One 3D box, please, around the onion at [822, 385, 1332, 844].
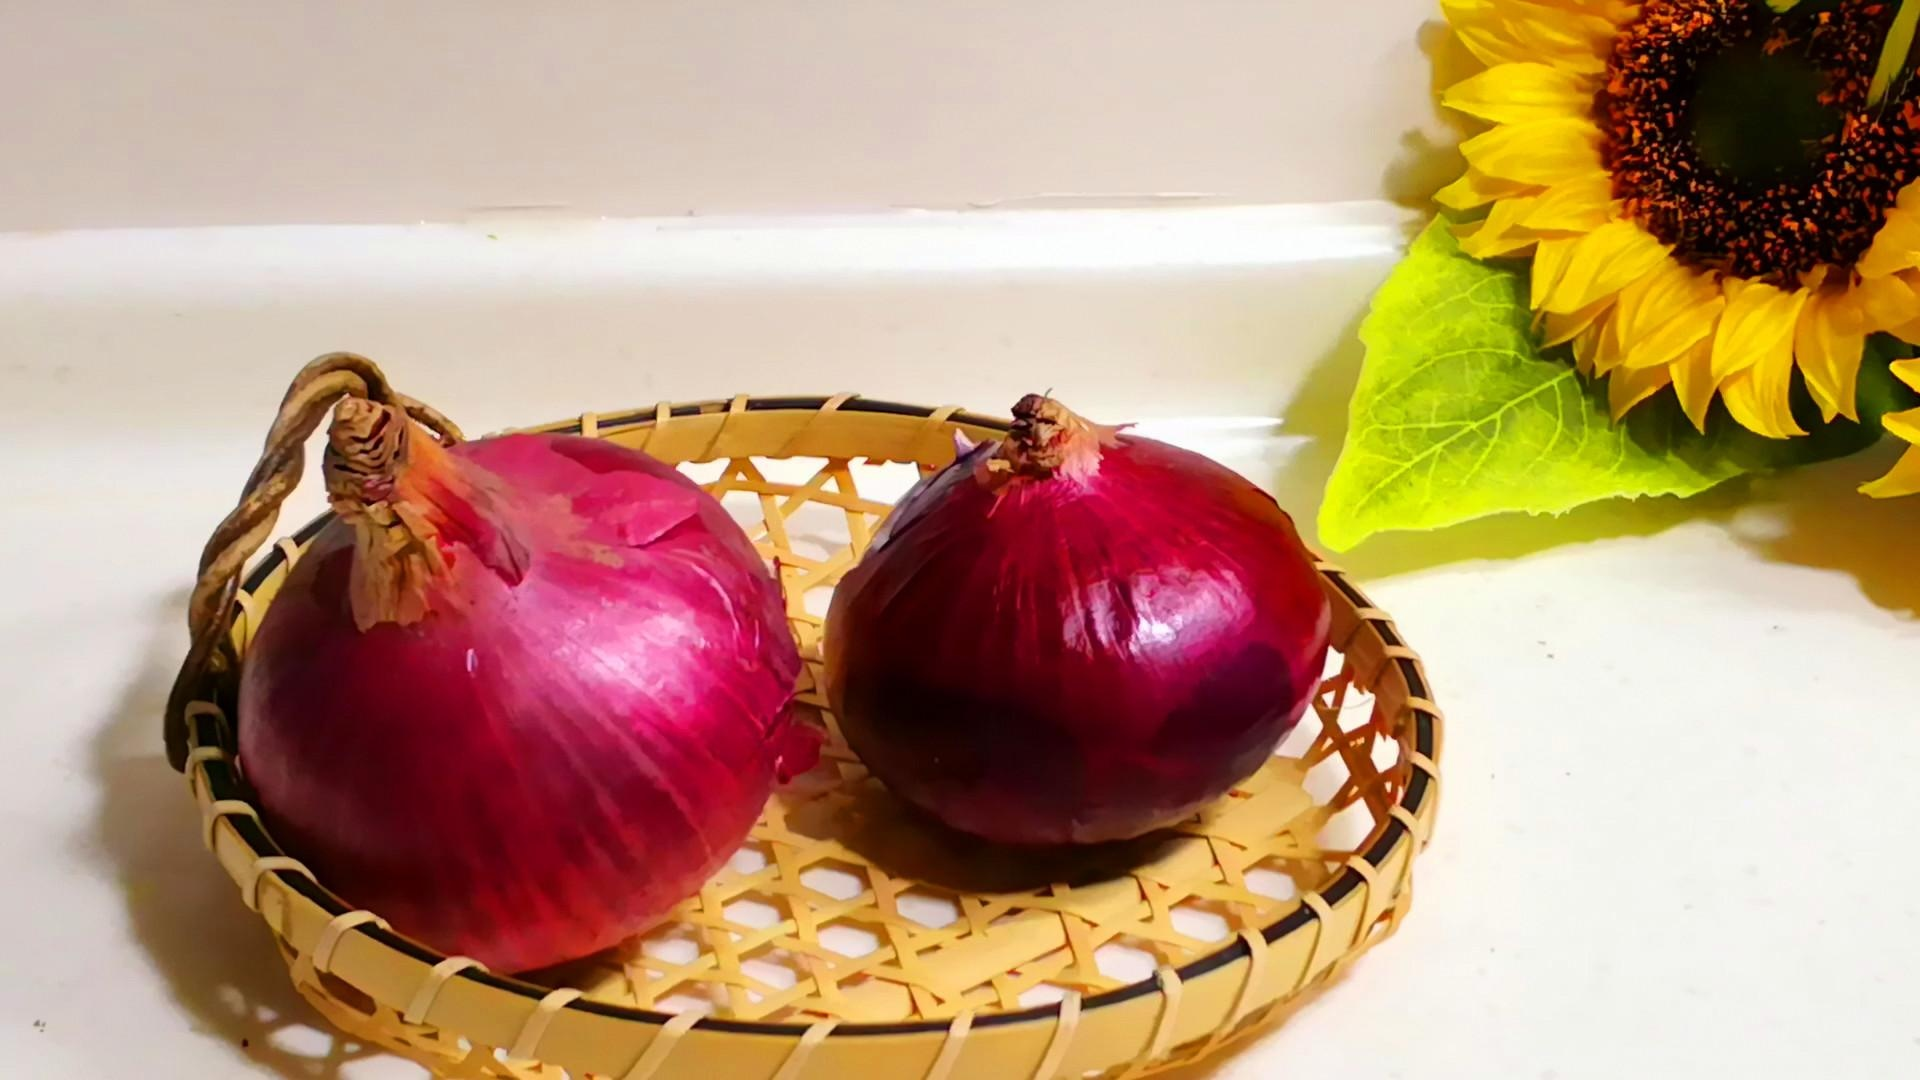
[{"bbox_3d":[0.077,0.061,1.052,0.291,0.205,0.280,36,61,11],"label":"onion"}]
